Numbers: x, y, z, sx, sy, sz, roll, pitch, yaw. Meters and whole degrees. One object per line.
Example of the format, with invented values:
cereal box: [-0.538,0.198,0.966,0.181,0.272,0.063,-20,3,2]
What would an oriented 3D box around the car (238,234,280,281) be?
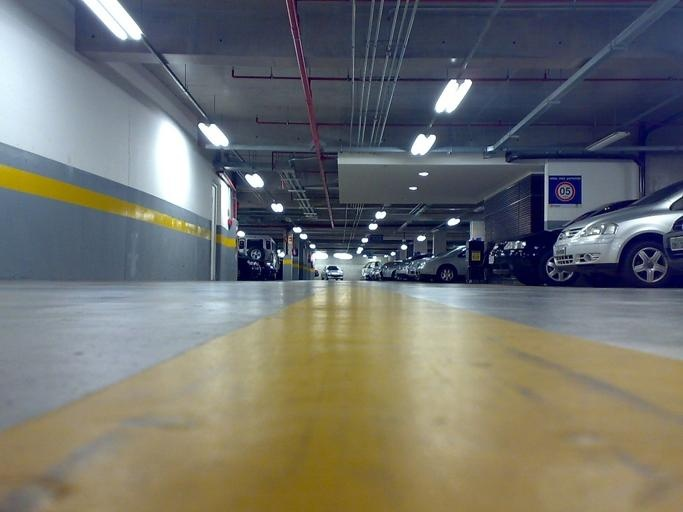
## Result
car: [-3.204,0.101,16.817,1.147,1.285,2.211,-1,-6,-2]
